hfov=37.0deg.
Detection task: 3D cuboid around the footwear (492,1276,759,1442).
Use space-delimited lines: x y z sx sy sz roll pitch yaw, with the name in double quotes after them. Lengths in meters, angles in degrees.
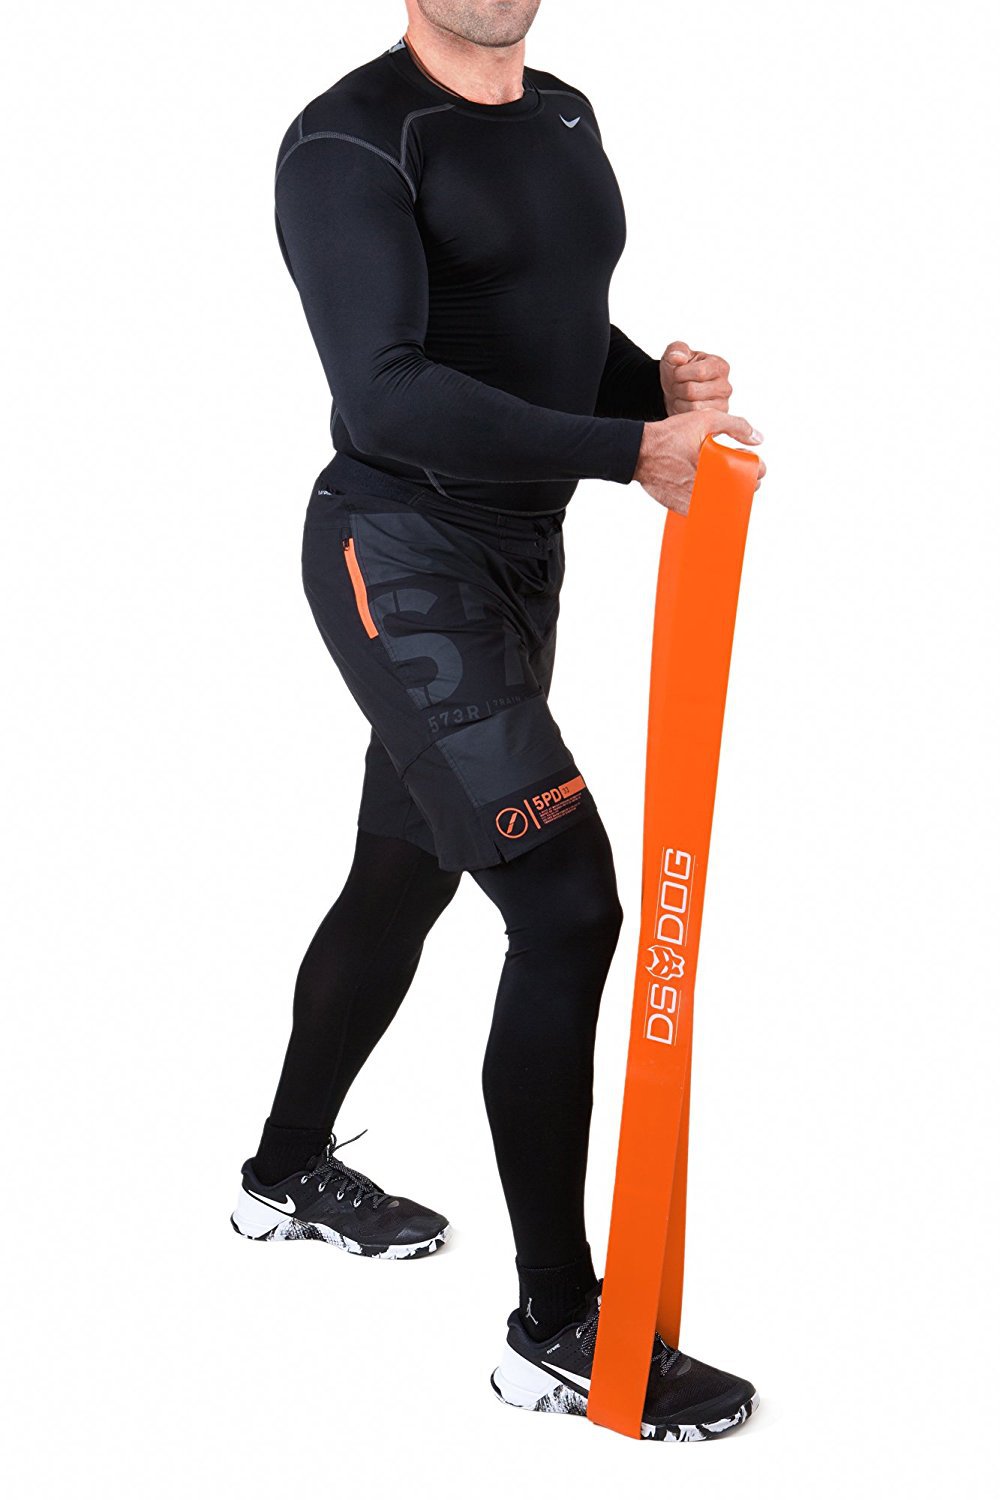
0.162 0.846 2.090 0.408 0.172 0.137 -4 3 35 "footwear"
